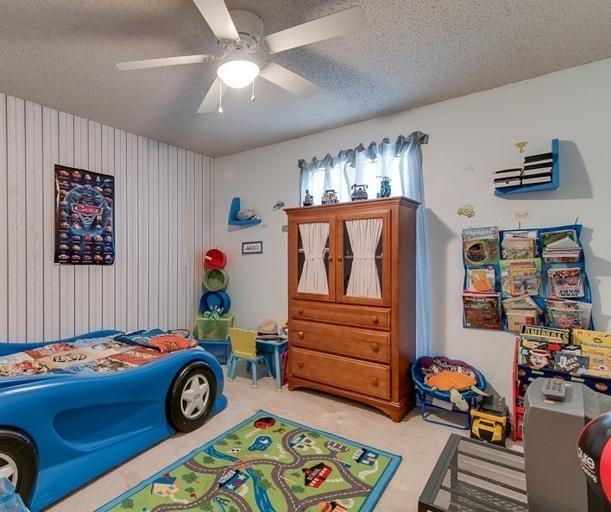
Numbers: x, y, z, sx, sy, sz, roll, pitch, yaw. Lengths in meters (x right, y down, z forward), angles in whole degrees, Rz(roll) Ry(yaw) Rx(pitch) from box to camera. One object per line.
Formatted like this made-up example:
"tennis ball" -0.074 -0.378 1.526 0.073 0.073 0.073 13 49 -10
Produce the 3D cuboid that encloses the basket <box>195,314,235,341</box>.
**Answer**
"basket" -1.008 0.786 4.728 0.334 0.199 0.331 -1 -3 11

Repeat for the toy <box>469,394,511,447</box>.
"toy" 1.355 1.186 3.135 0.216 0.228 0.398 -3 -4 26

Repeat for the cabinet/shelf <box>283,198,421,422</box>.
"cabinet/shelf" 0.373 0.368 3.605 1.133 1.720 0.511 7 13 32

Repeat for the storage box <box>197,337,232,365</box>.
"storage box" -0.961 0.948 4.541 0.382 0.284 0.297 -1 -6 0

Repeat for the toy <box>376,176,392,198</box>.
"toy" 0.650 -0.561 3.537 0.113 0.130 0.228 2 9 10

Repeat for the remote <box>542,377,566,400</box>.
"remote" 0.918 0.487 1.578 0.092 0.027 0.066 -12 16 38

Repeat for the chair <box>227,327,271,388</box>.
"chair" -0.546 0.923 4.083 0.403 0.636 0.659 -2 11 -12

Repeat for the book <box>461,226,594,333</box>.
"book" 1.672 0.174 3.155 0.848 0.797 0.276 -1 -1 34

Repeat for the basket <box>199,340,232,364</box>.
"basket" -0.954 0.998 4.556 0.348 0.258 0.273 0 -6 3

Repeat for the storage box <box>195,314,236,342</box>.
"storage box" -1.010 0.768 4.717 0.338 0.199 0.333 -1 -3 13

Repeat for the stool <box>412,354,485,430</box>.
"stool" 1.104 1.069 3.369 0.583 0.424 0.451 5 11 23
